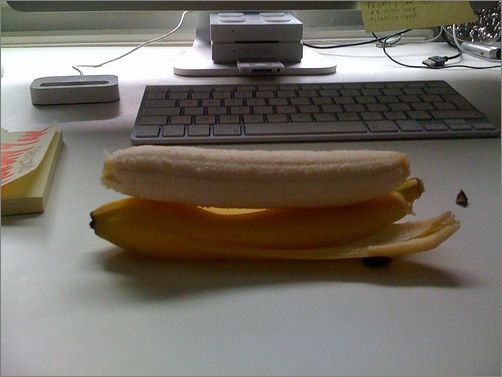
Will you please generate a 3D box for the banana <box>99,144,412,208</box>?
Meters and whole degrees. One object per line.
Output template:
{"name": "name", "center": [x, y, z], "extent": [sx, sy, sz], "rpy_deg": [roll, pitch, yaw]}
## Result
{"name": "banana", "center": [0.004, -0.009, 0.373], "extent": [0.277, 0.063, 0.057], "rpy_deg": [0, 13, 1]}
